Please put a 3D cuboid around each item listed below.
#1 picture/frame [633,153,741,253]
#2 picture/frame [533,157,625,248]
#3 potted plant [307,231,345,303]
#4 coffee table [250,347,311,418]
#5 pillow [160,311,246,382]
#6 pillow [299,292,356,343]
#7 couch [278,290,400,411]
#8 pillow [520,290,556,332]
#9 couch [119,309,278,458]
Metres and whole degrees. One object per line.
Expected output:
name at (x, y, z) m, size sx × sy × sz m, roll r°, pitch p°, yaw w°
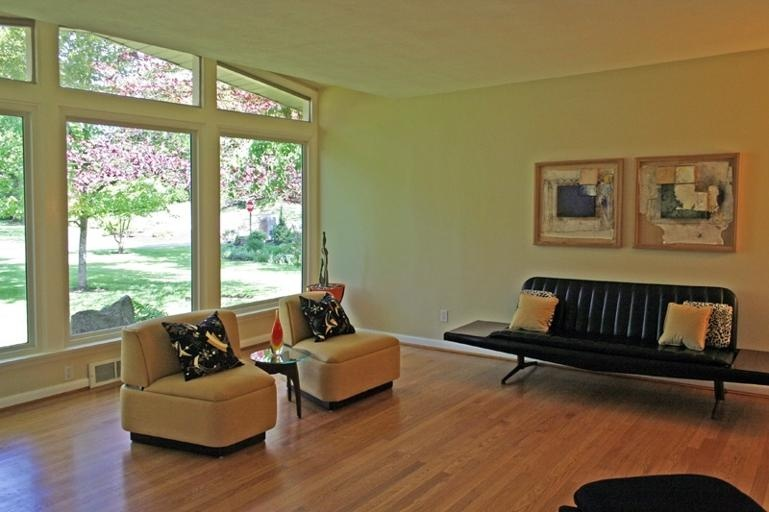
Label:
picture/frame at (3.347, -0.595, 5.652) m, size 1.200 × 1.197 × 0.095 m, roll 2°, pitch 3°, yaw 32°
picture/frame at (2.360, -0.655, 6.166) m, size 1.209 × 1.109 × 0.092 m, roll 1°, pitch 2°, yaw 29°
potted plant at (-0.893, 0.226, 7.643) m, size 0.607 × 0.987 × 0.584 m, roll -7°, pitch 6°, yaw -44°
coffee table at (-0.969, 1.269, 5.305) m, size 0.677 × 0.663 × 0.639 m, roll 0°, pitch 5°, yaw 26°
pillow at (-1.687, 0.856, 4.779) m, size 0.326 × 0.482 × 0.608 m, roll 10°, pitch 12°, yaw 30°
pillow at (-0.654, 0.664, 5.680) m, size 0.521 × 0.502 × 0.172 m, roll -16°, pitch -19°, yaw -45°
couch at (-0.494, 0.956, 5.803) m, size 1.040 × 0.928 × 1.138 m, roll 9°, pitch 10°, yaw 38°
pillow at (1.746, 0.654, 5.914) m, size 0.416 × 0.409 × 0.165 m, roll 5°, pitch -28°, yaw 23°
couch at (-1.732, 1.131, 4.917) m, size 1.346 × 0.992 × 1.284 m, roll 1°, pitch 5°, yaw -13°
